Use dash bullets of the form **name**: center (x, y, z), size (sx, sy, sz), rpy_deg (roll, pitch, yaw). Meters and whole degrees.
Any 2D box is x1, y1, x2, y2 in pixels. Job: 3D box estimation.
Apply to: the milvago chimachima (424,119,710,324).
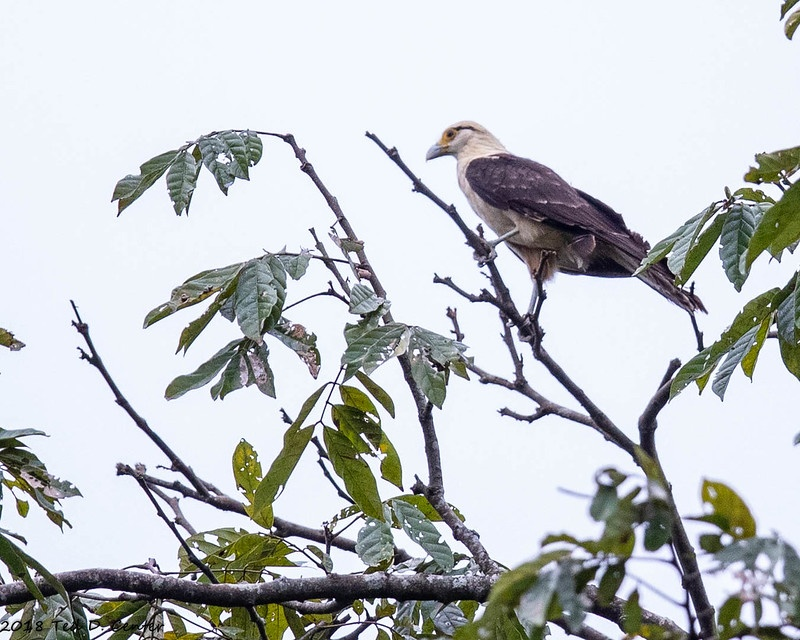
- **milvago chimachima**: center (0.938, -0.811, 8.210), size (2.352, 1.757, 0.845), rpy_deg (0, -10, 27)
